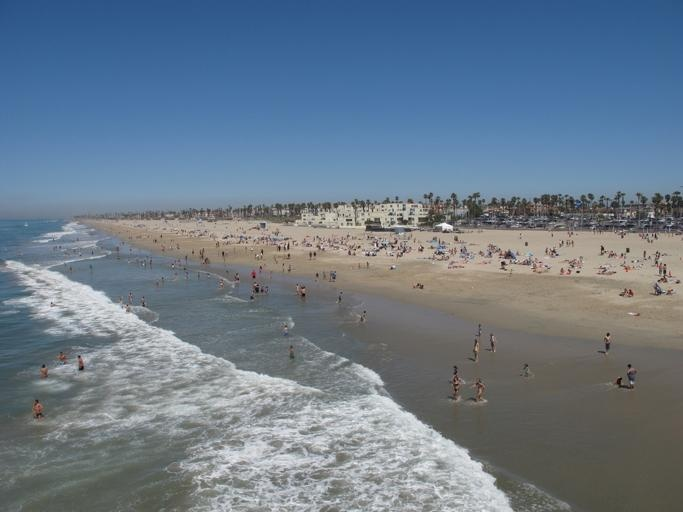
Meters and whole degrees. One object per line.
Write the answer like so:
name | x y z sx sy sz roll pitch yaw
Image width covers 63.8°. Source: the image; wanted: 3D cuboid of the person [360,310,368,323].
person | 1.625 4.683 41.925 0.411 0.304 0.762 3 27 11

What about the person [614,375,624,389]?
person | 14.575 6.570 28.714 0.422 0.460 0.863 3 3 26

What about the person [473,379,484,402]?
person | 7.246 6.894 28.580 0.543 0.993 1.540 3 3 15
